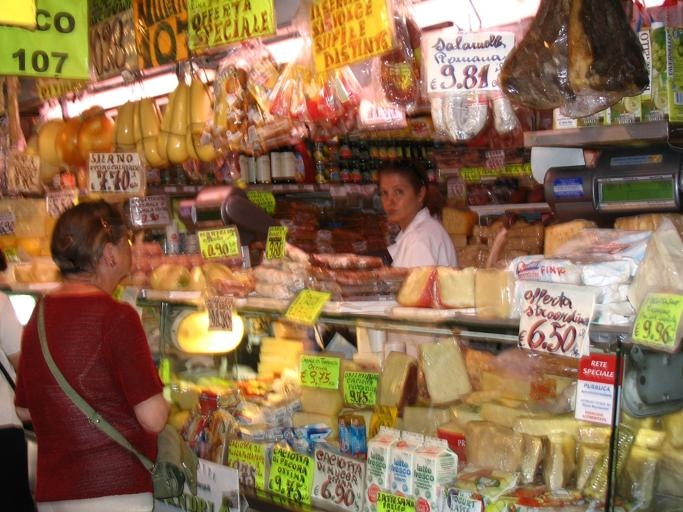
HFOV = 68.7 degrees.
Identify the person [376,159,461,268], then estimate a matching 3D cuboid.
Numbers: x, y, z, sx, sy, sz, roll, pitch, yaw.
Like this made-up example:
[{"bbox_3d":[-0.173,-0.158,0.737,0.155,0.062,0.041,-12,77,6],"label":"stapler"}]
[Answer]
[{"bbox_3d":[0.536,-0.250,3.544,0.474,0.876,0.957,-4,-2,1],"label":"person"}]
